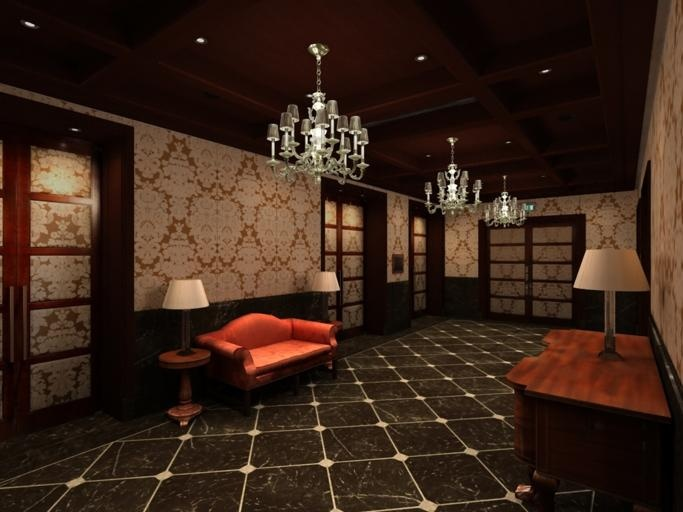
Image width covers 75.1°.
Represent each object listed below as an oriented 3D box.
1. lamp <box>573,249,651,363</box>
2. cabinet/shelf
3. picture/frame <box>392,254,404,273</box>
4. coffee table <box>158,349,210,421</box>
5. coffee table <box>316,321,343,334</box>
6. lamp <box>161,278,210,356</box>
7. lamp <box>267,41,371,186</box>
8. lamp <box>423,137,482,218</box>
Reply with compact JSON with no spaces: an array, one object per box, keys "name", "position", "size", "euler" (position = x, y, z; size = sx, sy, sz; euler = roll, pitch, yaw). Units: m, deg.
[{"name":"lamp","position":[2.263,0.412,3.771],"size":[0.615,0.899,0.621],"euler":[2,-5,15]},{"name":"cabinet/shelf","position":[1.776,1.157,3.174],"size":[0.583,0.676,1.496],"euler":[1,2,25]},{"name":"picture/frame","position":[1.105,0.148,8.861],"size":[0.018,0.277,0.384],"euler":[2,1,31]},{"name":"coffee table","position":[-1.758,1.401,5.000],"size":[0.629,0.749,0.525],"euler":[8,12,42]},{"name":"coffee table","position":[-0.120,0.973,6.193],"size":[0.325,0.086,0.319],"euler":[-3,-3,34]},{"name":"lamp","position":[-1.760,0.679,5.048],"size":[0.451,0.883,0.501],"euler":[-4,9,-21]},{"name":"lamp","position":[-0.211,-1.394,4.279],"size":[0.855,1.158,0.877],"euler":[0,10,2]},{"name":"lamp","position":[1.769,-1.274,7.109],"size":[0.919,1.326,0.945],"euler":[-1,-2,25]}]
